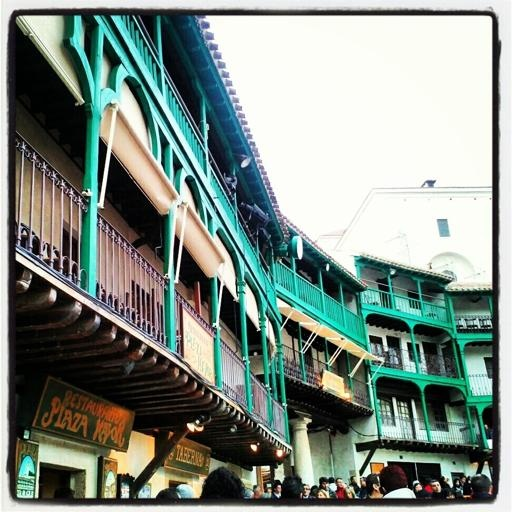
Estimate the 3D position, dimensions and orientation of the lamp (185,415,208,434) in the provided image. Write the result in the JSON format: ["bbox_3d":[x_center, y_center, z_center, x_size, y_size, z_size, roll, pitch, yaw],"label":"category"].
[{"bbox_3d":[-0.863,2.460,10.130,0.253,0.136,0.529,12,-32,-19],"label":"lamp"}]
